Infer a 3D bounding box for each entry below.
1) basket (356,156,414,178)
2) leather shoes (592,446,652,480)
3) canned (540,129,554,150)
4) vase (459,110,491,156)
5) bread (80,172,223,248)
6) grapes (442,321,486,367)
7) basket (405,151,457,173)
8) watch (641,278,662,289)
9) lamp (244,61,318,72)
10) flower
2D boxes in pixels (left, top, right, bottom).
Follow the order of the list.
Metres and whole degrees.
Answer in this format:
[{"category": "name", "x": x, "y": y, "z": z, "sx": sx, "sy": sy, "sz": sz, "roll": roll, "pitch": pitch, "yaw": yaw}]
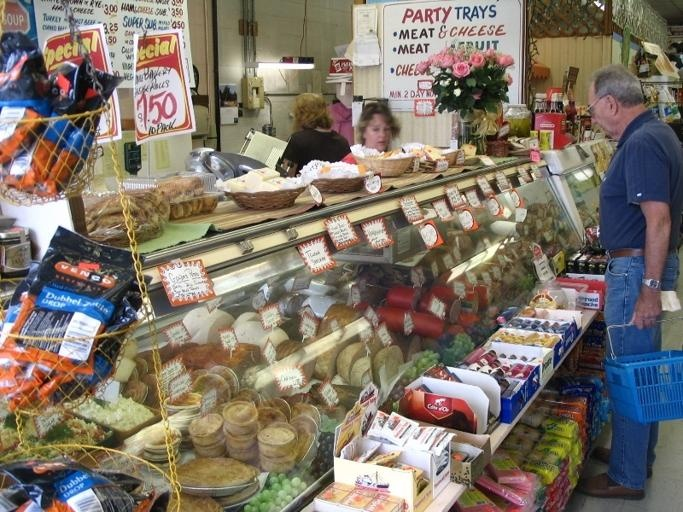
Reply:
[{"category": "basket", "x": 0.234, "y": -0.450, "z": 2.434, "sx": 0.177, "sy": 0.066, "sz": 0.177, "roll": -3, "pitch": 10, "yaw": -4}, {"category": "leather shoes", "x": 1.738, "y": 1.256, "z": 3.072, "sx": 0.116, "sy": 0.143, "sz": 0.342, "roll": -15, "pitch": 24, "yaw": -23}, {"category": "canned", "x": 1.588, "y": -0.901, "z": 3.777, "sx": 0.102, "sy": 0.141, "sz": 0.141, "roll": 1, "pitch": 17, "yaw": 21}, {"category": "vase", "x": 0.900, "y": -0.875, "z": 3.357, "sx": 0.123, "sy": 0.203, "sz": 0.135, "roll": 11, "pitch": 34, "yaw": 46}, {"category": "bread", "x": -0.532, "y": -0.145, "z": 1.359, "sx": 0.215, "sy": 0.116, "sz": 0.363, "roll": 13, "pitch": 22, "yaw": 24}, {"category": "grapes", "x": 0.593, "y": 0.427, "z": 2.388, "sx": 0.146, "sy": 0.106, "sz": 0.244, "roll": 2, "pitch": 30, "yaw": 31}, {"category": "basket", "x": 0.510, "y": -0.492, "z": 2.653, "sx": 0.154, "sy": 0.074, "sz": 0.220, "roll": 7, "pitch": 14, "yaw": 42}, {"category": "watch", "x": 1.600, "y": 0.145, "z": 2.521, "sx": 0.070, "sy": 0.047, "sz": 0.075, "roll": 9, "pitch": 10, "yaw": 2}, {"category": "lamp", "x": -0.873, "y": -3.068, "z": 7.850, "sx": 0.422, "sy": 0.135, "sz": 1.258, "roll": 10, "pitch": 23, "yaw": 42}, {"category": "flower", "x": 0.869, "y": -1.190, "z": 3.334, "sx": 0.526, "sy": 0.394, "sz": 0.555, "roll": -4, "pitch": 22, "yaw": 7}]
